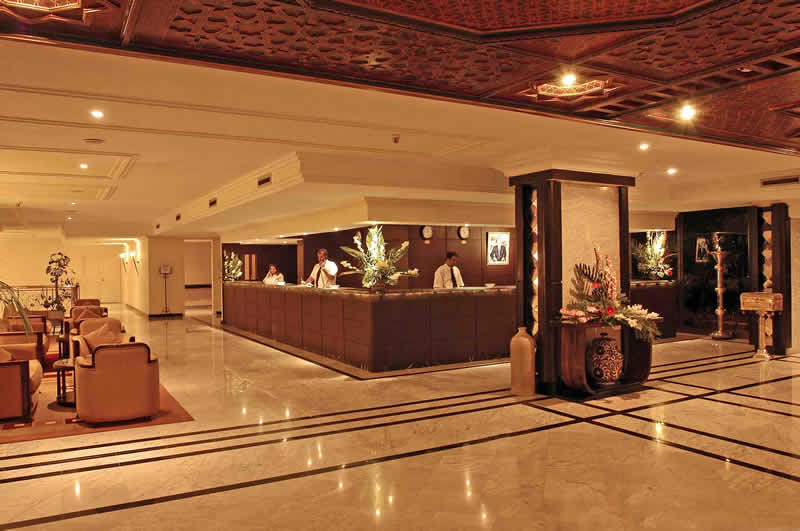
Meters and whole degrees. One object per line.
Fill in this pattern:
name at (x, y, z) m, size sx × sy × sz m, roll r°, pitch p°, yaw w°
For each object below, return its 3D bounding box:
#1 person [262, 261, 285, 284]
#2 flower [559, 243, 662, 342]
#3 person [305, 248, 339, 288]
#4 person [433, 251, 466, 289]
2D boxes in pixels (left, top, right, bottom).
person at (-4.201, 0.219, 17.131) m, size 0.849 × 0.710 × 0.438 m, roll -2°, pitch -6°, yaw 33°
flower at (3.087, 0.438, 7.978) m, size 1.428 × 1.438 × 0.851 m, roll -1°, pitch 5°, yaw -4°
person at (-1.922, 0.068, 12.723) m, size 0.620 × 0.925 × 1.553 m, roll -2°, pitch 5°, yaw -11°
person at (1.090, 0.094, 12.034) m, size 1.011 × 1.019 × 0.614 m, roll 2°, pitch -4°, yaw -37°
